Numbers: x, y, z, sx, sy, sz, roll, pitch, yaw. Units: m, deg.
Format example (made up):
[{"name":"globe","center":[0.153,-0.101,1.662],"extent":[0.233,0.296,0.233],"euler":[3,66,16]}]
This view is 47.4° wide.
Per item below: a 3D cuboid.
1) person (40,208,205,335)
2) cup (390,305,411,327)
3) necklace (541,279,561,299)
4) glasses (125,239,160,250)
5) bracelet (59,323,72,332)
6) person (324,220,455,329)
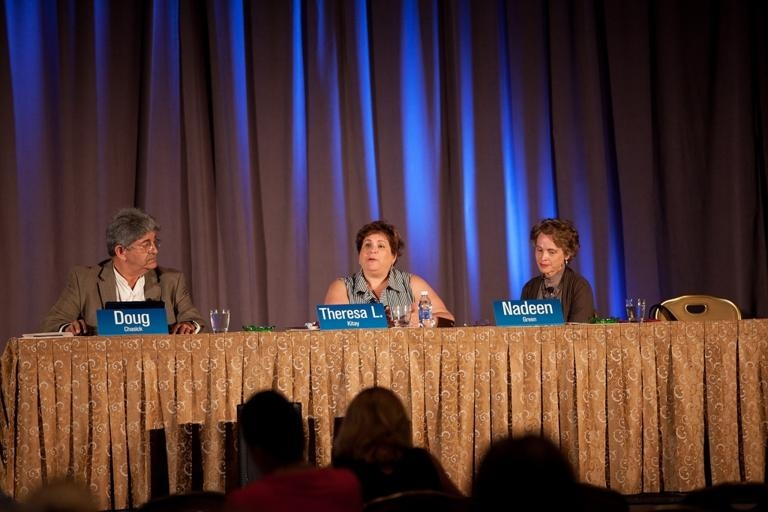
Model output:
[{"name":"person","center":[-2.018,0.135,6.371],"extent":[0.654,0.918,0.503],"euler":[7,-37,-29]},{"name":"cup","center":[0.092,0.386,5.582],"extent":[0.124,0.144,0.127],"euler":[0,-2,0]},{"name":"necklace","center":[1.222,0.263,6.449],"extent":[0.153,0.207,0.111],"euler":[-3,-43,5]},{"name":"glasses","center":[-1.722,-0.074,6.086],"extent":[0.115,0.040,0.114],"euler":[-8,2,18]},{"name":"bracelet","center":[-2.118,0.471,5.661],"extent":[0.052,0.073,0.026],"euler":[5,-21,-5]},{"name":"person","center":[0.062,0.097,6.336],"extent":[0.726,0.788,0.844],"euler":[2,-8,-37]}]
